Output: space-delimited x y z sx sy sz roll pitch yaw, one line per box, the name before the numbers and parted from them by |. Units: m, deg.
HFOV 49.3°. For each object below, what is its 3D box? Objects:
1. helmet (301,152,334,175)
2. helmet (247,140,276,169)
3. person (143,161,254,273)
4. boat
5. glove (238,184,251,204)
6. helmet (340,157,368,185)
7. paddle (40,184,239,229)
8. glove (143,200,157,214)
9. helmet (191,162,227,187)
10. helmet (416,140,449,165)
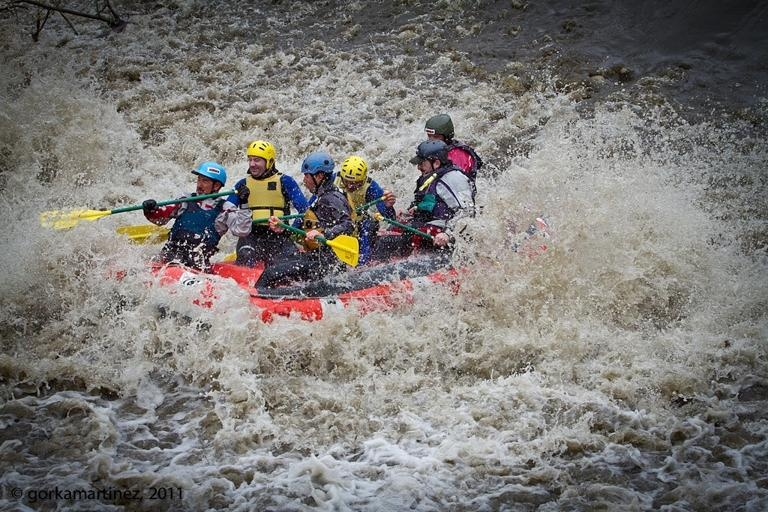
helmet | -1.157 -1.619 14.778 0.467 0.400 0.376 -17 22 5
helmet | -2.205 -1.839 14.936 0.424 0.538 0.512 7 96 40
person | -3.311 -0.627 15.029 1.339 0.860 2.353 18 69 12
boat | -0.889 0.521 14.211 4.078 0.719 2.154 -5 38 -9
glove | -2.410 -1.087 14.592 0.183 0.101 0.323 2 101 17
helmet | -0.524 -1.573 15.061 0.385 0.477 0.512 10 39 -2
paddle | -4.551 -0.893 15.403 3.590 0.170 0.520 -10 71 -5
glove | -4.004 -0.867 14.353 0.242 0.186 0.195 -20 74 -12
helmet | -3.008 -1.489 14.765 0.425 0.576 0.272 30 95 52
helmet | 0.868 -1.904 15.142 0.532 0.356 0.286 -2 98 -2
